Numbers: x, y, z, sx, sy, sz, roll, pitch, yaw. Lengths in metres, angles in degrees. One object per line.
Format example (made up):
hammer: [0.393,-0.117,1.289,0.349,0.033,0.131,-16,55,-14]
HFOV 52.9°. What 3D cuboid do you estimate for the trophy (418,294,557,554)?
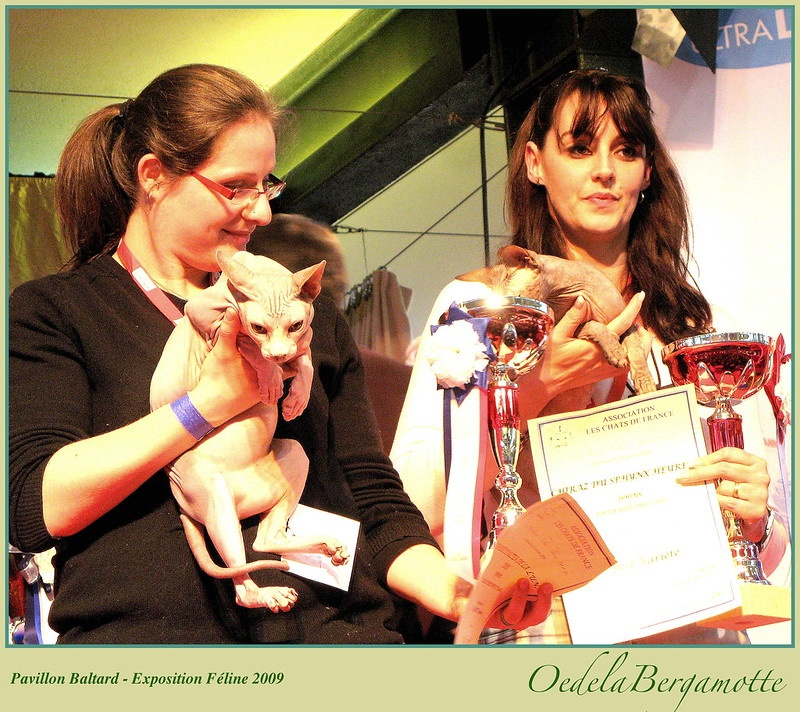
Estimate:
trophy: [0.257,0.216,1.957,0.257,0.649,0.303,-8,-14,25]

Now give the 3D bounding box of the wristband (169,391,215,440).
wristband: [-0.436,0.131,1.743,0.055,0.089,0.088,-42,-2,-6]

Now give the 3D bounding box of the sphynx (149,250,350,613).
sphynx: [-0.321,0.170,1.716,0.382,0.795,0.335,-8,1,-18]

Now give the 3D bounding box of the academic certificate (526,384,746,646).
academic certificate: [0.519,0.338,1.739,0.417,0.548,0.163,-11,-9,1]

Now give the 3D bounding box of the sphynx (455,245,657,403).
sphynx: [0.475,-0.127,2.277,0.601,0.317,0.204,19,-34,-29]
